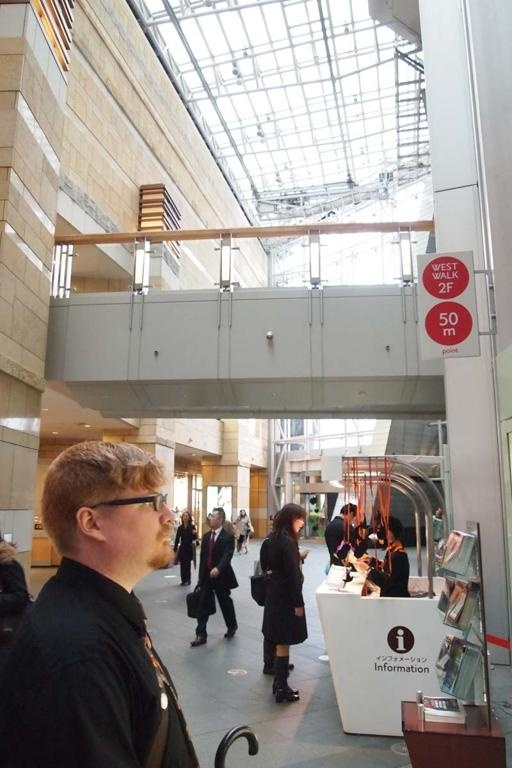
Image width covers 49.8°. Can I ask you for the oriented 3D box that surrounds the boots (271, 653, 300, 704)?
[{"bbox_3d":[0.252,2.471,4.683,0.233,0.375,0.312,1,-7,3],"label":"boots"}]

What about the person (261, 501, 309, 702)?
[{"bbox_3d":[0.253,1.947,5.066,0.401,1.679,0.937,2,-7,2],"label":"person"}]

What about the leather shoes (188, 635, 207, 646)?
[{"bbox_3d":[-0.703,3.065,6.604,0.079,0.106,0.247,-5,-25,13],"label":"leather shoes"}]

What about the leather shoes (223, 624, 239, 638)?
[{"bbox_3d":[-0.329,3.162,7.071,0.190,0.198,0.103,9,-11,24],"label":"leather shoes"}]
